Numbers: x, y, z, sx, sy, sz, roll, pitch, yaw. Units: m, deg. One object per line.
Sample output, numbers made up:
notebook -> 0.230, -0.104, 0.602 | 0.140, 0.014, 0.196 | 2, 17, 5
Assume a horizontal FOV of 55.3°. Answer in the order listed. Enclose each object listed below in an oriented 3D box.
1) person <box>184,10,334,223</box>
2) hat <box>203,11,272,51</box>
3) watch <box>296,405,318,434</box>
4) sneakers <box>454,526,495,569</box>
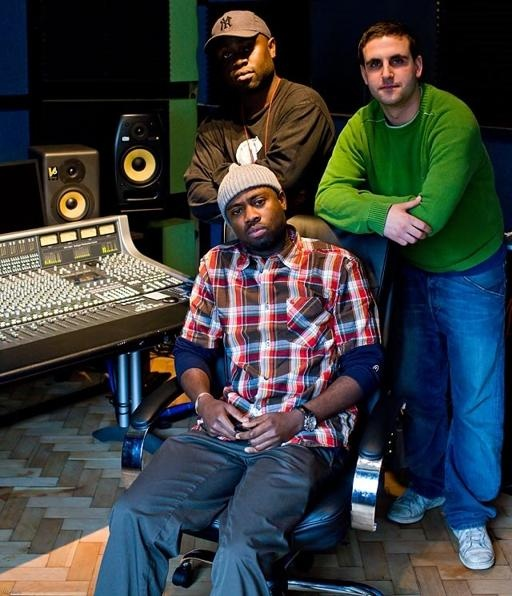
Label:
person -> 0.001, -0.655, 2.006 | 0.670, 0.892, 0.517 | -2, 14, 9
hat -> -0.078, -1.069, 1.894 | 0.161, 0.104, 0.219 | -1, 6, 39
watch -> 0.113, 0.287, 1.134 | 0.032, 0.063, 0.050 | -12, 16, -42
sneakers -> 0.736, 0.813, 1.632 | 0.102, 0.108, 0.297 | -10, -12, 18
